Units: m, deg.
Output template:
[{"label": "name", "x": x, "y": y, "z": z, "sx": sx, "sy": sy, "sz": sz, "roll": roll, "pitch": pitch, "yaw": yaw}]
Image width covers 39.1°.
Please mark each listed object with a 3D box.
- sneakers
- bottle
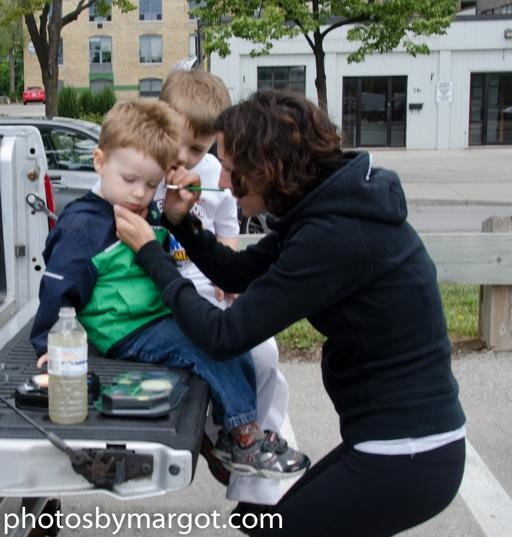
[{"label": "sneakers", "x": 0.015, "y": 0.659, "z": 2.610, "sx": 0.352, "sy": 0.206, "sz": 0.148, "roll": 6, "pitch": -1, "yaw": -10}, {"label": "bottle", "x": -0.541, "y": 0.271, "z": 2.054, "sx": 0.118, "sy": 0.297, "sz": 0.181, "roll": -4, "pitch": 13, "yaw": -17}]
